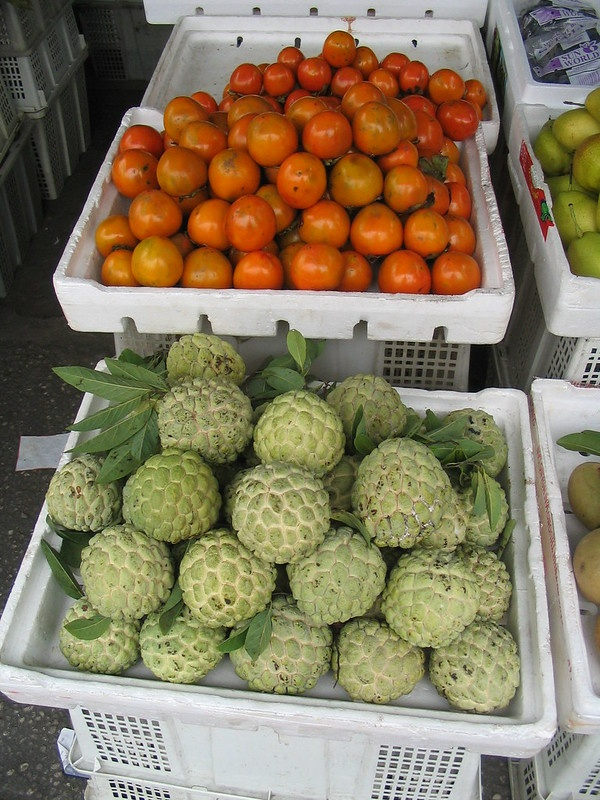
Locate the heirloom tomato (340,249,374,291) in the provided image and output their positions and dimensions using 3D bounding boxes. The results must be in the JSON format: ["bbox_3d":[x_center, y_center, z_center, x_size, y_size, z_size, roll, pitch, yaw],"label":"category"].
[{"bbox_3d":[0.114,-0.271,1.330,0.082,0.097,0.079,-8,17,-17],"label":"heirloom tomato"}]

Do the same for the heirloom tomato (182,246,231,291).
[{"bbox_3d":[-0.195,-0.267,1.396,0.097,0.096,0.093,6,84,46],"label":"heirloom tomato"}]

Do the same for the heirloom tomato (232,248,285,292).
[{"bbox_3d":[-0.088,-0.260,1.316,0.086,0.100,0.087,-1,46,-7],"label":"heirloom tomato"}]

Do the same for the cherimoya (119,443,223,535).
[{"bbox_3d":[-0.187,0.123,0.988,0.133,0.112,0.121,6,9,39],"label":"cherimoya"}]

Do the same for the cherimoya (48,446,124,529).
[{"bbox_3d":[-0.347,0.154,1.083,0.109,0.103,0.121,-27,17,-7],"label":"cherimoya"}]

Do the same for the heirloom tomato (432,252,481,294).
[{"bbox_3d":[0.317,-0.250,1.330,0.090,0.073,0.078,4,52,8],"label":"heirloom tomato"}]

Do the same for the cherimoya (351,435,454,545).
[{"bbox_3d":[0.146,0.124,0.939,0.124,0.153,0.131,-1,96,8],"label":"cherimoya"}]

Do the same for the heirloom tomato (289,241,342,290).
[{"bbox_3d":[0.027,-0.264,1.323,0.119,0.109,0.116,1,52,5],"label":"heirloom tomato"}]

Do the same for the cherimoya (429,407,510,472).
[{"bbox_3d":[0.312,0.066,1.206,0.107,0.140,0.119,3,71,19],"label":"cherimoya"}]

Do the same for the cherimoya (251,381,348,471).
[{"bbox_3d":[0.003,0.054,1.003,0.134,0.143,0.127,6,96,18],"label":"cherimoya"}]

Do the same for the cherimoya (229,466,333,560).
[{"bbox_3d":[-0.029,0.153,0.896,0.134,0.101,0.117,3,52,6],"label":"cherimoya"}]
